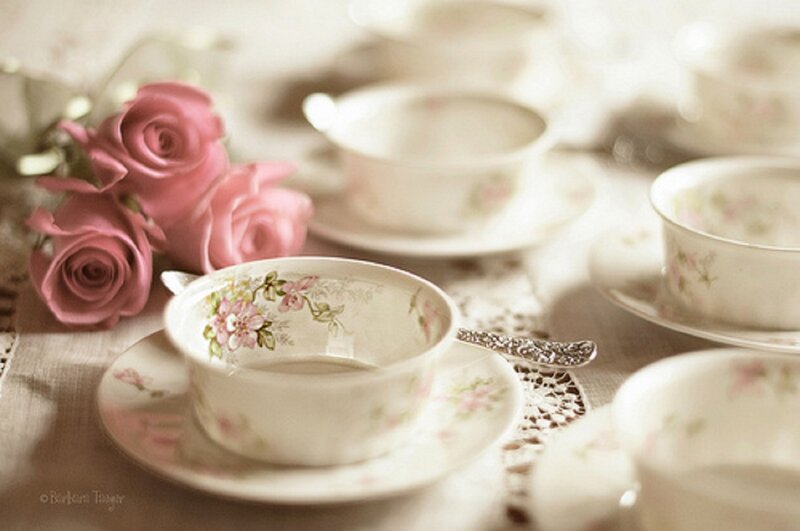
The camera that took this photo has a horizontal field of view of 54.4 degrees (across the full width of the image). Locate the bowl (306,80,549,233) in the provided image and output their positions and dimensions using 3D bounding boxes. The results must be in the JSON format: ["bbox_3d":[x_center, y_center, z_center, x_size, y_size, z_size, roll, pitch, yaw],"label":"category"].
[{"bbox_3d":[0.031,-0.138,0.942,0.248,0.093,0.223,26,37,36],"label":"bowl"}]

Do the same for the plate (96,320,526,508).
[{"bbox_3d":[-0.081,0.114,0.659,0.358,0.059,0.203,11,42,3],"label":"plate"}]

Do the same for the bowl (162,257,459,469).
[{"bbox_3d":[-0.070,0.079,0.665,0.245,0.084,0.232,3,20,-1],"label":"bowl"}]
